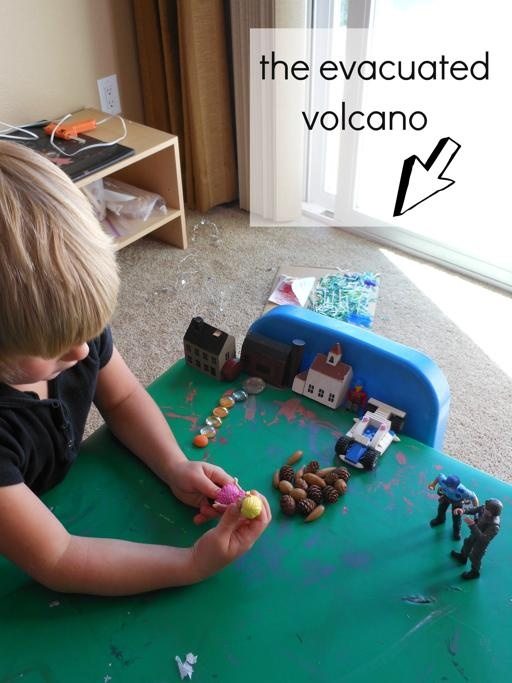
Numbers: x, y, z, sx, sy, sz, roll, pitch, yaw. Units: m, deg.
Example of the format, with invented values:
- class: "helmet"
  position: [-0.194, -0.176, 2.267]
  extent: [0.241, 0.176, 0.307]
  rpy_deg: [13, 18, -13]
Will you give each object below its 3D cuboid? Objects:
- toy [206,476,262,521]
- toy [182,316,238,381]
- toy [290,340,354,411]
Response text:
- class: "toy"
  position: [-0.026, 0.189, 0.625]
  extent: [0.024, 0.037, 0.051]
  rpy_deg: [-45, 29, -25]
- class: "toy"
  position: [-0.087, 0.015, 0.982]
  extent: [0.101, 0.107, 0.077]
  rpy_deg: [30, 44, 28]
- class: "toy"
  position: [0.108, 0.055, 0.837]
  extent: [0.078, 0.093, 0.048]
  rpy_deg: [29, 17, 23]
